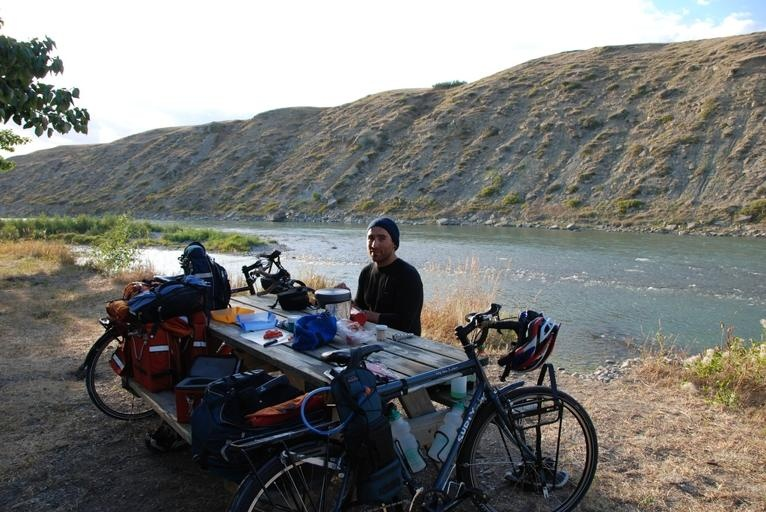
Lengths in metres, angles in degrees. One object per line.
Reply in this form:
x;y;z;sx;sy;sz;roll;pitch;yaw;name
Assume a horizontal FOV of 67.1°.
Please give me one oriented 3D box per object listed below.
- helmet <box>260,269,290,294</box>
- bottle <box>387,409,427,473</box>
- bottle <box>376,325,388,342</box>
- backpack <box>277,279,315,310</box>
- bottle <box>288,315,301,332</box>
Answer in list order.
-1.699;0.391;8.888;0.406;0.324;0.357;12;9;41;helmet
0.281;2.178;6.904;0.430;0.731;0.177;3;9;9;bottle
-0.038;1.054;7.845;0.195;0.186;0.176;1;7;-4;bottle
-1.408;0.605;8.932;0.565;0.464;0.439;1;5;41;backpack
-1.243;0.914;7.904;0.229;0.195;0.212;2;6;7;bottle
